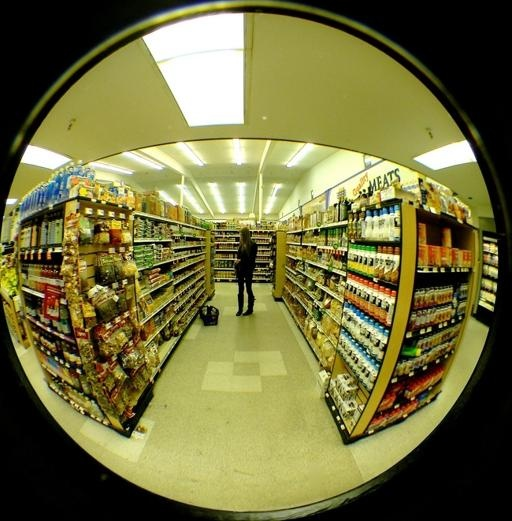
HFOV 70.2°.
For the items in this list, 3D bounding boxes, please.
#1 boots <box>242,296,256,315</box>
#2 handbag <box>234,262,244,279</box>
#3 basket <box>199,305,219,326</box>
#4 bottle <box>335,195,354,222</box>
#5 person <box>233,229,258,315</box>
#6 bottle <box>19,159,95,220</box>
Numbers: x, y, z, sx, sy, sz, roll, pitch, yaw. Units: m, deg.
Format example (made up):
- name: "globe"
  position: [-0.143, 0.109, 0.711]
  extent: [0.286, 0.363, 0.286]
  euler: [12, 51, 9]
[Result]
- name: "boots"
  position: [-0.105, 0.597, 4.706]
  extent: [0.202, 0.284, 0.117]
  euler: [4, 6, -9]
- name: "handbag"
  position: [-0.202, 0.117, 4.536]
  extent: [0.134, 0.297, 0.144]
  euler: [1, -7, -1]
- name: "basket"
  position: [-0.543, 0.623, 4.203]
  extent: [0.169, 0.198, 0.244]
  euler: [-2, 8, -4]
- name: "bottle"
  position: [0.678, -0.392, 2.865]
  extent: [0.130, 0.285, 0.197]
  euler: [1, 3, -2]
- name: "person"
  position: [-0.135, 0.144, 4.649]
  extent: [0.239, 1.192, 0.609]
  euler: [0, 10, -1]
- name: "bottle"
  position: [-1.096, -0.405, 2.076]
  extent: [0.346, 0.298, 0.365]
  euler: [-5, 13, -25]
